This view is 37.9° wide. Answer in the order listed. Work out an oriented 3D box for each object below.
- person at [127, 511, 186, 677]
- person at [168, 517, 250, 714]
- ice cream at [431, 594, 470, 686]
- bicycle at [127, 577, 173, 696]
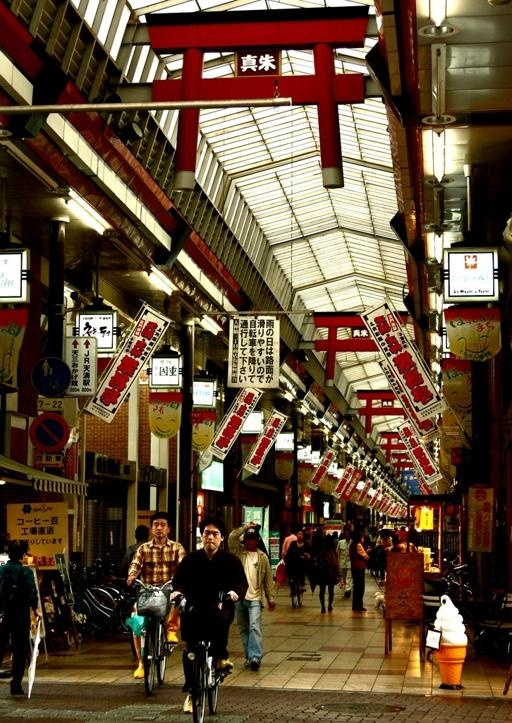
[{"bbox_3d":[-0.896,1.884,6.645,0.655,1.525,0.824,0,-5,-3],"label":"person"},{"bbox_3d":[-0.304,1.485,4.562,0.499,1.110,0.545,0,-5,-2],"label":"person"},{"bbox_3d":[1.687,2.400,6.469,0.395,0.758,0.411,-1,-10,11],"label":"ice cream"},{"bbox_3d":[-0.867,2.240,6.069,0.337,0.925,0.950,-1,-11,7],"label":"bicycle"}]
